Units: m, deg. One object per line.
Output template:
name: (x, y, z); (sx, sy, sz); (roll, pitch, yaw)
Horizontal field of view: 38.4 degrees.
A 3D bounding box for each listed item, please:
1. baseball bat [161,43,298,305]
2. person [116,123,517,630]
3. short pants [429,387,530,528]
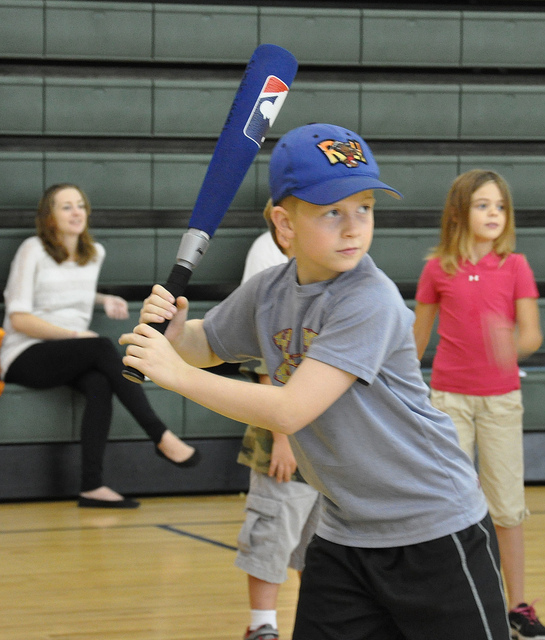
baseball bat: (-0.095, -0.222, 1.282); (0.121, 0.556, 0.090); (19, -20, -1)
person: (0.079, 0.107, 1.202); (0.578, 0.798, 0.326); (3, 7, 13)
short pants: (0.543, 0.346, 2.067); (0.251, 0.318, 0.290); (2, 7, 10)
